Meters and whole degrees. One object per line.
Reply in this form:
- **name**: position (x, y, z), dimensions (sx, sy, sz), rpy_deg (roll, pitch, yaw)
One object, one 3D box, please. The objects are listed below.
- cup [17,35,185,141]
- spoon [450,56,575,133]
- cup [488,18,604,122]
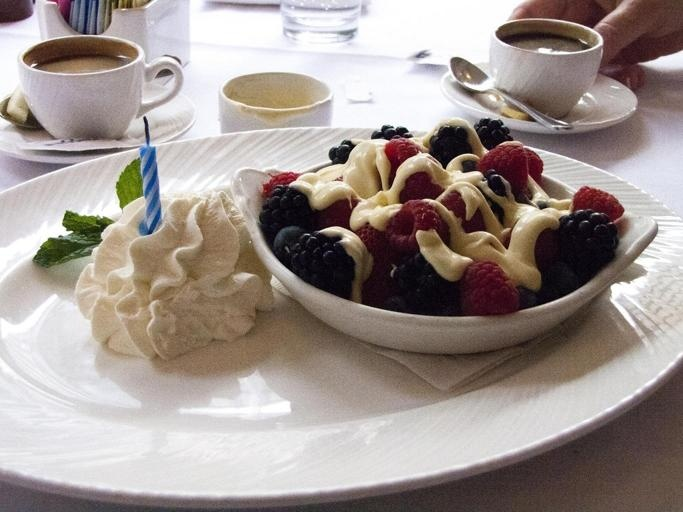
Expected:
- **cup**: position (-0.652, -0.440, 1.662), dimensions (0.411, 0.241, 0.321), rpy_deg (2, 34, -7)
- **spoon**: position (0.497, -0.453, 1.713), dimensions (0.078, 0.059, 0.412), rpy_deg (-3, 47, -40)
- **cup**: position (0.585, -0.543, 1.848), dimensions (0.309, 0.231, 0.317), rpy_deg (-2, 32, 1)
